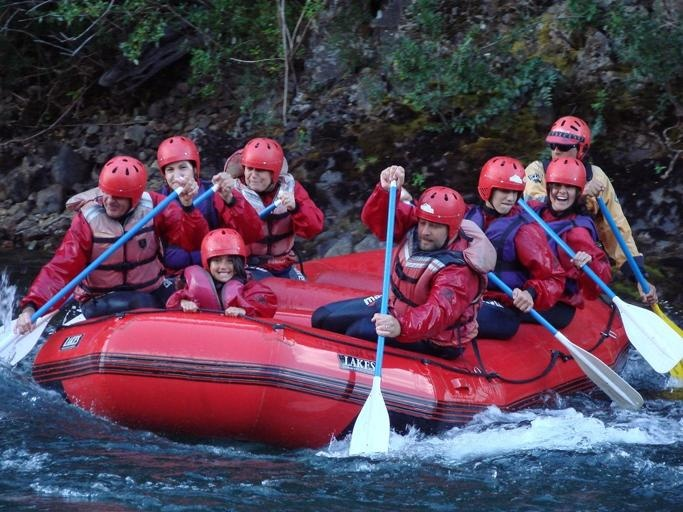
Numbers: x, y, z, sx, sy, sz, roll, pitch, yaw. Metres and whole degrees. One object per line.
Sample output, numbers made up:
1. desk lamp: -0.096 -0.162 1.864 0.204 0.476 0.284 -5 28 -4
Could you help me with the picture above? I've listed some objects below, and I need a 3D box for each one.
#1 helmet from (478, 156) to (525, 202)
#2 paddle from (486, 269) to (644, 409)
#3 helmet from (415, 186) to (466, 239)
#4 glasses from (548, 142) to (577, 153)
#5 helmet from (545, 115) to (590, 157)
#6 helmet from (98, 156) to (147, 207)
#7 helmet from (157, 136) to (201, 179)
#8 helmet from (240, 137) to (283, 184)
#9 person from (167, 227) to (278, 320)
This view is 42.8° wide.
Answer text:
1. helmet: 1.452 -0.673 7.826 0.483 0.352 0.458 17 15 41
2. paddle: 1.800 0.718 7.274 2.544 0.201 0.250 36 29 -28
3. helmet: 0.792 -0.315 6.958 0.457 0.431 0.386 4 27 4
4. glasses: 2.147 -1.063 8.516 0.297 0.080 0.149 9 16 36
5. helmet: 2.225 -1.133 8.613 0.483 0.391 0.469 5 19 18
6. helmet: -1.859 -0.641 7.331 0.417 0.336 0.450 12 26 -5
7. helmet: -1.524 -0.906 8.050 0.447 0.381 0.469 -5 1 6
8. helmet: -0.841 -0.896 8.106 0.426 0.420 0.465 13 24 -13
9. person: -1.027 0.139 7.161 0.713 0.424 0.993 7 29 -22
